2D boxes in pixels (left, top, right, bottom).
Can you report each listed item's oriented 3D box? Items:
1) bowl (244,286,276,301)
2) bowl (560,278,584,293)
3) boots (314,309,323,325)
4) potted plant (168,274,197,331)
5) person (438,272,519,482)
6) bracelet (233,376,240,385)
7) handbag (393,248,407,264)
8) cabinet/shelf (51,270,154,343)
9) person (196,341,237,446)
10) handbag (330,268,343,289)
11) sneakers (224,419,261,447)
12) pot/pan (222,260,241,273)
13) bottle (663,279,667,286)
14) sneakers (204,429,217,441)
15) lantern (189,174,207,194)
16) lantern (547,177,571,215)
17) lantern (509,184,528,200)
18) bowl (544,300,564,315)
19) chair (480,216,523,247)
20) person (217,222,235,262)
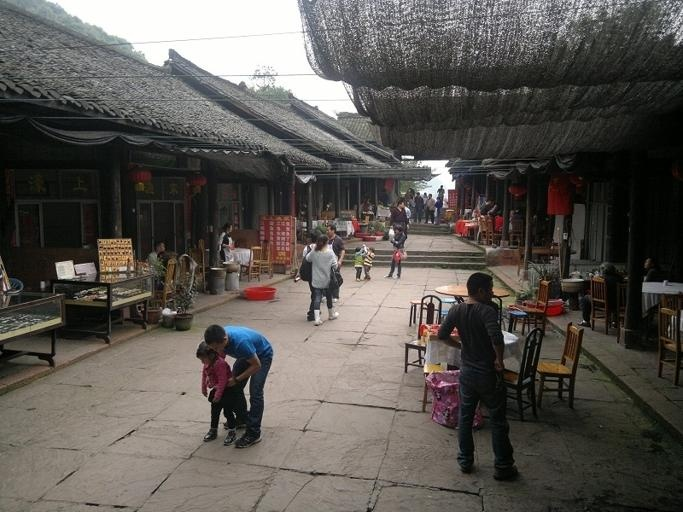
[{"bbox_3d":[-2.069,0.913,12.739,0.770,0.307,0.521,-1,10,-9],"label":"bowl"},{"bbox_3d":[4.874,0.619,10.720,0.351,0.156,0.351,-3,0,0],"label":"bowl"},{"bbox_3d":[-0.482,1.205,10.199,0.149,0.297,0.250,0,10,-2],"label":"boots"},{"bbox_3d":[-3.183,0.909,10.129,0.481,0.889,1.043,-3,10,-19],"label":"potted plant"},{"bbox_3d":[1.415,1.178,5.192,0.556,1.989,0.892,-8,13,-40],"label":"person"},{"bbox_3d":[-1.141,1.331,5.490,0.120,0.031,0.112,0,7,-8],"label":"bracelet"},{"bbox_3d":[1.825,-0.045,15.871,0.356,0.618,0.634,-4,1,12],"label":"handbag"},{"bbox_3d":[-4.326,0.786,9.333,1.111,1.190,1.906,1,4,11],"label":"cabinet/shelf"},{"bbox_3d":[-1.361,1.460,5.578,0.359,1.248,0.562,-2,10,-12],"label":"person"},{"bbox_3d":[-0.104,0.445,10.352,0.186,0.485,0.486,2,10,9],"label":"handbag"},{"bbox_3d":[-1.131,1.993,5.664,0.475,0.209,0.168,1,9,-2],"label":"sneakers"},{"bbox_3d":[-2.967,0.286,13.615,0.396,0.262,0.674,-2,10,-15],"label":"pot/pan"},{"bbox_3d":[5.861,0.474,9.203,0.075,0.082,0.074,-3,5,-13],"label":"bottle"},{"bbox_3d":[-1.473,2.008,5.718,0.075,0.127,0.192,-1,-9,18],"label":"sneakers"},{"bbox_3d":[-3.813,-1.930,13.398,0.466,0.491,0.432,0,7,3],"label":"lantern"},{"bbox_3d":[5.000,-1.406,11.627,0.517,0.881,0.385,6,12,30],"label":"lantern"},{"bbox_3d":[5.703,-2.125,16.464,0.669,0.596,0.660,2,9,20],"label":"lantern"},{"bbox_3d":[4.411,1.063,10.533,0.470,0.163,0.463,-7,5,1],"label":"bowl"},{"bbox_3d":[5.938,-0.924,19.113,1.085,1.763,1.227,3,12,13],"label":"chair"},{"bbox_3d":[-3.351,-0.404,14.730,0.383,1.019,0.905,-2,10,-11],"label":"person"}]
